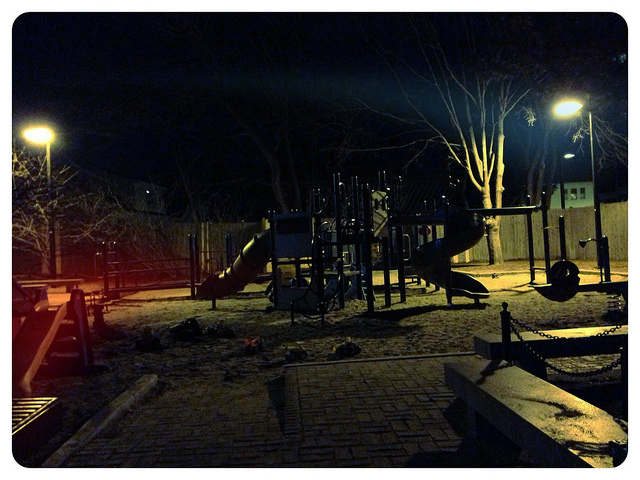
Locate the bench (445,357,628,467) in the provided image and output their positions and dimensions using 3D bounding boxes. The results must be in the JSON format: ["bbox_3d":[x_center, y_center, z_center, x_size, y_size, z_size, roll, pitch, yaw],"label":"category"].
[{"bbox_3d":[2.760,2.201,6.608,0.952,0.756,2.198,-4,1,-33],"label":"bench"}]
